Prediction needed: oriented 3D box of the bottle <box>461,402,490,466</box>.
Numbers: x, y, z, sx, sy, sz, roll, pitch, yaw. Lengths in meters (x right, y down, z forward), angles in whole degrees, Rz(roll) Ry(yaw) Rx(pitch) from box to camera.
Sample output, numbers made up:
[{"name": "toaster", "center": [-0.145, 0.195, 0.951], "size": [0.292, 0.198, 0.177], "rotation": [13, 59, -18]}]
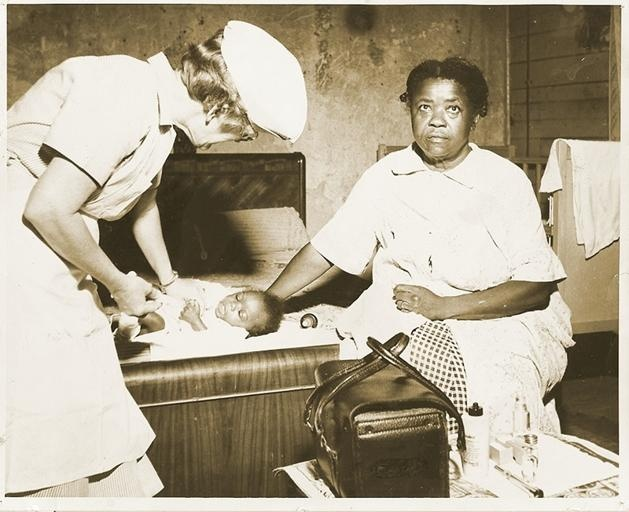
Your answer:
[{"name": "bottle", "center": [0.612, 0.680, 2.841], "size": [0.094, 0.233, 0.094], "rotation": [-3, 10, 1]}]

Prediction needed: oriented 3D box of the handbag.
[{"name": "handbag", "center": [0.257, 0.629, 3.063], "size": [0.544, 0.625, 0.447], "rotation": [-1, 2, -9]}]

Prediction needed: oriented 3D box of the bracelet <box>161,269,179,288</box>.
[{"name": "bracelet", "center": [-0.557, 0.098, 2.951], "size": [0.071, 0.018, 0.049], "rotation": [-50, 41, -11]}]

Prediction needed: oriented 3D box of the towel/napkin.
[{"name": "towel/napkin", "center": [1.172, -0.249, 3.162], "size": [0.389, 0.472, 0.130], "rotation": [2, 7, 14]}]
